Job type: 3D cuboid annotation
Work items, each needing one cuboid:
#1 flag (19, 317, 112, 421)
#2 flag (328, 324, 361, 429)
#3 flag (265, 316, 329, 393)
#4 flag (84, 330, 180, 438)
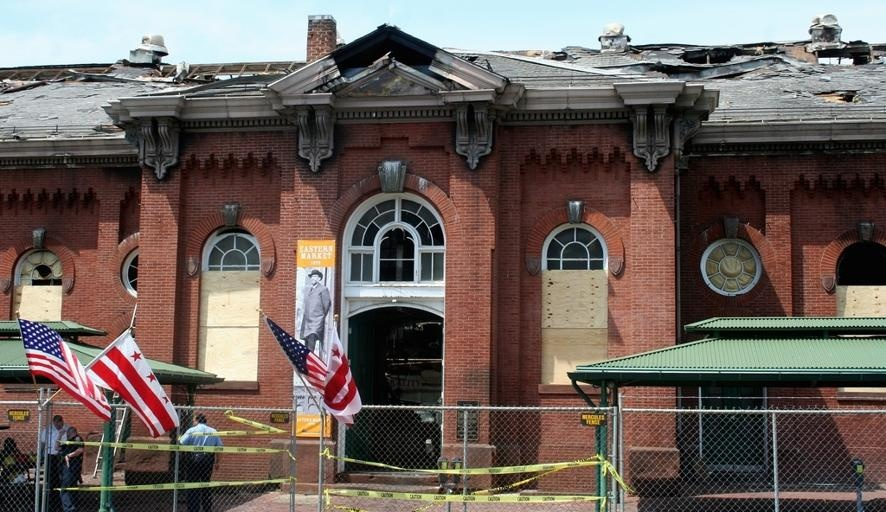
[{"bbox_3d":[-10.437,3.149,56.221,2.403,2.690,0.975,1,-12,-12],"label":"flag"},{"bbox_3d":[-2.921,3.323,56.937,0.820,2.635,1.243,-6,-12,20],"label":"flag"},{"bbox_3d":[-4.261,2.937,60.659,3.114,1.002,0.404,37,-42,-29],"label":"flag"},{"bbox_3d":[-8.378,3.408,56.992,2.117,3.091,1.775,1,2,13],"label":"flag"}]
